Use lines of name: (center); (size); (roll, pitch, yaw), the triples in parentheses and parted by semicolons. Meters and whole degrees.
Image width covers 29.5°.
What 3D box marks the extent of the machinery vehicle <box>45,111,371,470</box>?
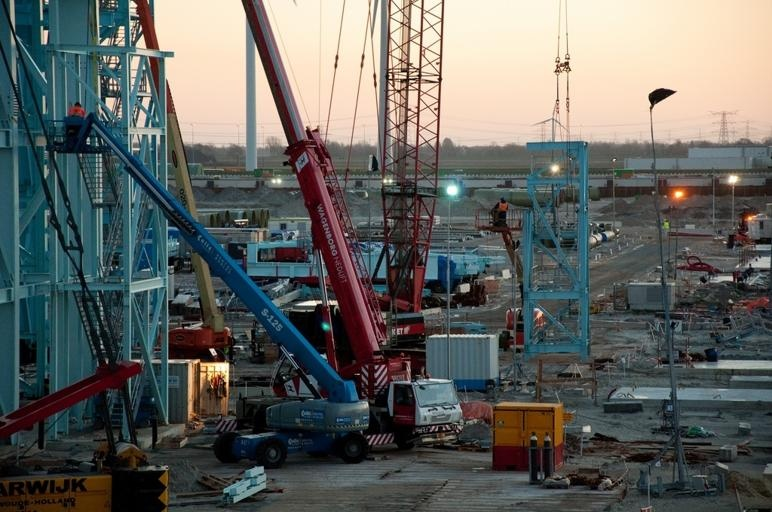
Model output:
machinery vehicle: (-6.864, 1.209, 59.097); (12.345, 14.139, 4.835); (-1, 4, 21)
